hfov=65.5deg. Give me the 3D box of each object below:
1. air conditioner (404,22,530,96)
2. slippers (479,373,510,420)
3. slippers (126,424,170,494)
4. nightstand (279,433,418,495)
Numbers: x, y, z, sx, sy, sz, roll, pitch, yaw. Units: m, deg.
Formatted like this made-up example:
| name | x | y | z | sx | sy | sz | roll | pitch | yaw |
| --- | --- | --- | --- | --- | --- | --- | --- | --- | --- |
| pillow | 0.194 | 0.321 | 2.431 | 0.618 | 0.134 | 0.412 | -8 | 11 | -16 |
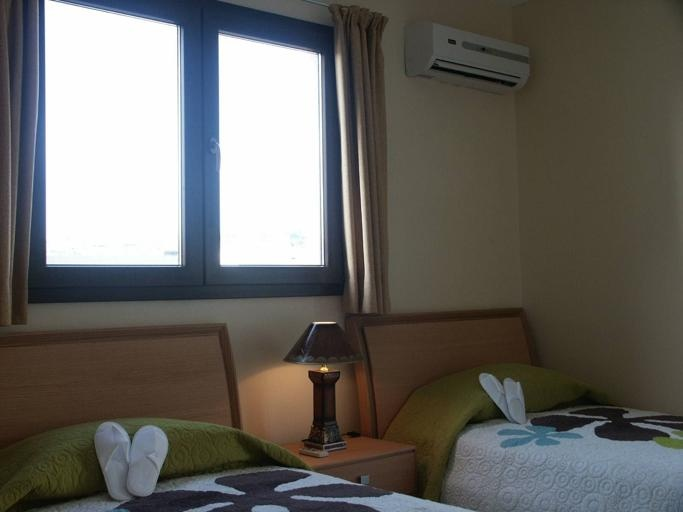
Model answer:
| name | x | y | z | sx | sy | sz | roll | pitch | yaw |
| --- | --- | --- | --- | --- | --- | --- | --- | --- | --- |
| air conditioner | 0.828 | -1.255 | 3.381 | 0.810 | 0.324 | 0.231 | -2 | 15 | -30 |
| slippers | 0.757 | 0.703 | 2.646 | 0.086 | 0.197 | 0.034 | -2 | -34 | -24 |
| slippers | -0.671 | 0.701 | 1.826 | 0.085 | 0.197 | 0.056 | 19 | -37 | -20 |
| nightstand | 0.115 | 0.899 | 2.485 | 0.361 | 0.299 | 0.361 | 3 | -6 | -44 |
